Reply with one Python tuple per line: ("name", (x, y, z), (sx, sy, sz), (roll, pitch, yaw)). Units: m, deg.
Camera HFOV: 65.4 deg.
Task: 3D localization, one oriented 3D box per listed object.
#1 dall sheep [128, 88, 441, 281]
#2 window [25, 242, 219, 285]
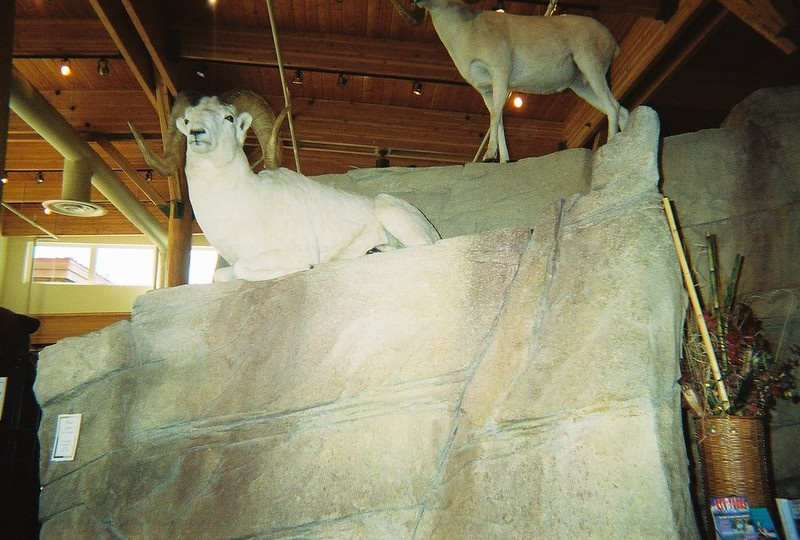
("dall sheep", (-0.569, -0.519, 5.338), (2.876, 1.777, 1.083), (2, -8, -9))
("window", (-7.869, 0.022, 17.640), (5.746, 1.692, 0.292), (-1, -58, 1))
